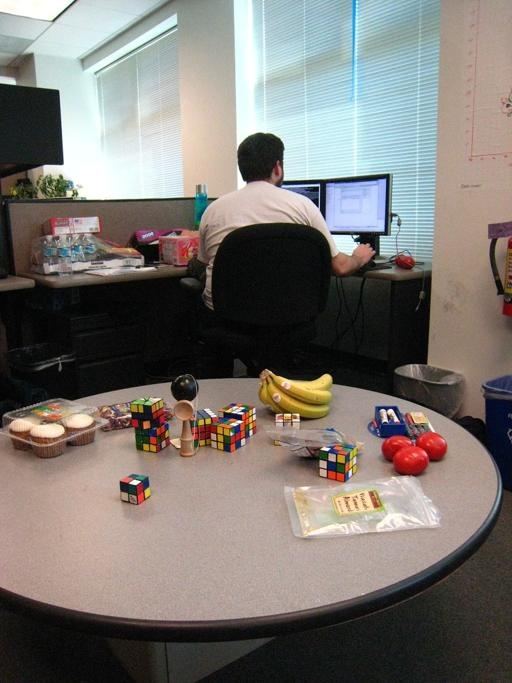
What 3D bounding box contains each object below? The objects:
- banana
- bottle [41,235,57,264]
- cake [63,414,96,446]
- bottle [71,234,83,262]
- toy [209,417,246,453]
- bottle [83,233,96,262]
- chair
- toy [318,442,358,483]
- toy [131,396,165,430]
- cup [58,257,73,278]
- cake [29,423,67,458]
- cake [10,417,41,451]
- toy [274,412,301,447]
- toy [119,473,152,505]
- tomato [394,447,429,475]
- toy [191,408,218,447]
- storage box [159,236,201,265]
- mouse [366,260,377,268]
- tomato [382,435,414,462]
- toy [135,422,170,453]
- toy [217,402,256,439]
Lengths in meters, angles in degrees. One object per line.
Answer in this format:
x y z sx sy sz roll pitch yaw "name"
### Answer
0.081 0.114 1.054 0.138 0.086 0.086 3 -29 -11 "banana"
-0.965 -0.429 2.392 0.068 0.123 0.132 -5 13 -22 "bottle"
-0.306 0.155 0.892 0.052 0.045 0.051 -5 16 -18 "cake"
-0.865 -0.448 2.475 0.055 0.126 0.172 -4 12 -19 "bottle"
-0.050 0.161 0.872 0.051 0.052 0.053 17 26 37 "toy"
-0.826 -0.464 2.544 0.060 0.122 0.210 -4 12 -17 "bottle"
0.019 -0.115 1.952 0.455 0.642 0.491 -2 12 -8 "chair"
0.125 0.177 0.776 0.047 0.047 0.048 7 15 36 "toy"
-0.177 0.119 0.864 0.051 0.051 0.052 1 17 4 "toy"
-0.886 -0.347 2.366 0.058 0.080 0.078 2 12 8 "cup"
-0.343 0.164 0.848 0.054 0.049 0.052 0 12 5 "cake"
-0.399 0.152 0.874 0.052 0.048 0.053 4 4 44 "cake"
0.056 0.163 0.948 0.044 0.044 0.045 -1 9 -9 "toy"
-0.162 0.199 0.684 0.036 0.035 0.037 13 25 30 "toy"
0.231 0.179 0.761 0.044 0.042 0.034 -3 46 2 "tomato"
-0.092 0.149 0.887 0.050 0.049 0.050 -5 9 -27 "toy"
-0.422 -0.486 2.822 0.212 0.164 0.219 7 12 29 "storage box"
0.558 -0.375 2.492 0.035 0.023 0.065 5 18 14 "mouse"
0.223 0.174 0.823 0.047 0.036 0.035 5 -20 -12 "tomato"
-0.175 0.165 0.865 0.047 0.047 0.048 9 18 35 "toy"
-0.033 0.139 0.942 0.054 0.055 0.055 12 21 37 "toy"
